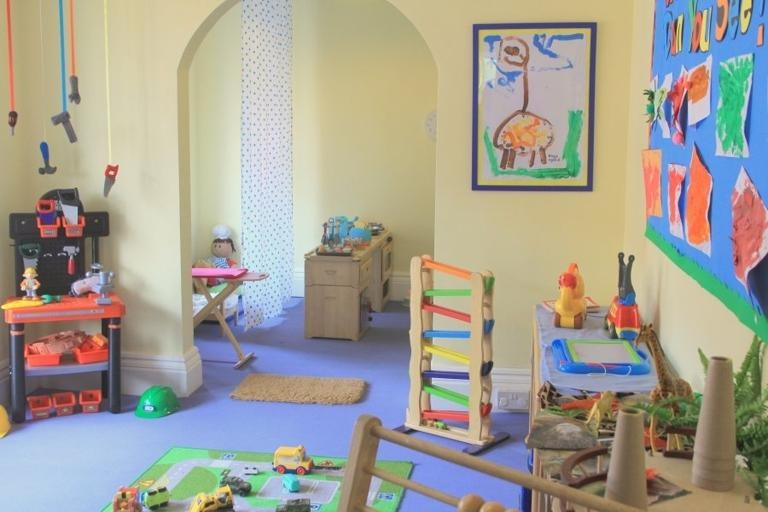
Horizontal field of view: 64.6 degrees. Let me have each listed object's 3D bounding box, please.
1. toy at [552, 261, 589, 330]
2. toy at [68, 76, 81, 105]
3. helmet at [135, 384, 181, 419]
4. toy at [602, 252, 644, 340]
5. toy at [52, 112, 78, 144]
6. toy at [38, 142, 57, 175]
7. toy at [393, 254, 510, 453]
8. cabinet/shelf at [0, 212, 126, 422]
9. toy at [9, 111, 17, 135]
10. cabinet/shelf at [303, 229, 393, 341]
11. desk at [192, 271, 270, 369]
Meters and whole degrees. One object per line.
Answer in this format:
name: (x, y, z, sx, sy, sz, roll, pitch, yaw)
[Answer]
toy: (1.158, 0.226, 3.759, 0.168, 0.371, 0.488, 1, 10, 25)
toy: (-2.273, -1.234, 4.453, 0.082, 0.220, 0.390, -6, 13, -26)
helmet: (-1.702, 1.065, 4.555, 0.269, 0.174, 0.353, 7, 3, 21)
toy: (1.411, 0.223, 3.582, 0.179, 0.532, 0.465, 2, 1, 5)
toy: (-2.389, -0.966, 4.542, 0.162, 0.240, 0.296, -6, 13, -28)
toy: (-2.518, -0.730, 4.540, 0.113, 0.256, 0.395, -6, 13, -27)
toy: (0.510, 0.617, 4.232, 0.745, 1.248, 0.698, 4, 12, 16)
cabinet/shelf: (-2.396, 0.407, 4.535, 0.817, 1.448, 0.755, -5, 13, -25)
toy: (-2.700, -0.971, 4.427, 0.065, 0.182, 0.256, -7, 13, -30)
cabinet/shelf: (-0.388, 0.302, 6.603, 0.615, 0.862, 1.281, 4, 12, 17)
desk: (-1.603, 0.525, 5.811, 0.887, 0.620, 0.487, 10, -6, 21)
